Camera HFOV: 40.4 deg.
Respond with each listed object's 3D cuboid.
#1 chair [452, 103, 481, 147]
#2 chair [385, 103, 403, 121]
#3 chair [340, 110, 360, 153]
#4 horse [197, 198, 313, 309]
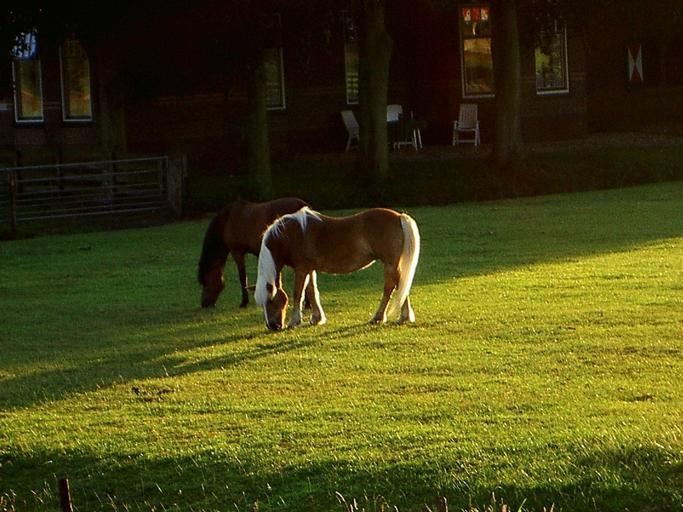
[{"bbox_3d":[3.655,-3.822,26.972,0.860,1.230,0.893,1,-4,-34],"label":"chair"},{"bbox_3d":[1.573,-4.167,27.198,0.423,0.478,0.724,-1,12,8],"label":"chair"},{"bbox_3d":[0.205,-3.580,26.756,0.389,0.744,1.237,-12,45,-5],"label":"chair"},{"bbox_3d":[-0.938,0.021,12.405,1.953,1.566,0.685,-4,-9,14],"label":"horse"}]
